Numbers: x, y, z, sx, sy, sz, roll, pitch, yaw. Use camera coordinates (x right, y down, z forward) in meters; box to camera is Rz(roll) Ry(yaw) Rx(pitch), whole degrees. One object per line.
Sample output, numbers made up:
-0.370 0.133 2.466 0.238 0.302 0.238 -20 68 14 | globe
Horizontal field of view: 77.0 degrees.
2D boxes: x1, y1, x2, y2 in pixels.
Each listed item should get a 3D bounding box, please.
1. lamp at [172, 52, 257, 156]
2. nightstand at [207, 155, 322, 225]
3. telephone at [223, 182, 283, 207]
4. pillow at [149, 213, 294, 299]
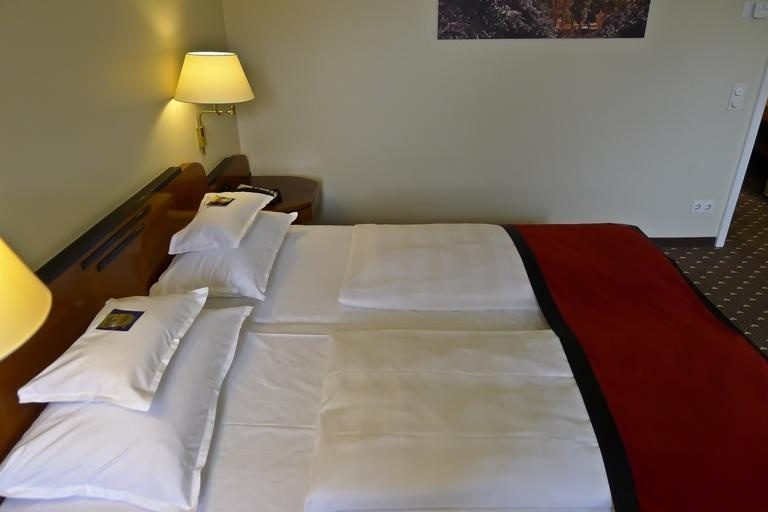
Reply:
-1.040 -0.947 3.056 0.381 0.615 0.584 -1 24 -4 | lamp
-0.838 -0.498 3.504 0.520 0.427 0.705 1 33 0 | nightstand
-0.875 -0.448 3.273 0.275 0.083 0.251 3 44 -2 | telephone
-0.833 -0.085 2.444 0.406 0.161 0.603 8 35 4 | pillow
